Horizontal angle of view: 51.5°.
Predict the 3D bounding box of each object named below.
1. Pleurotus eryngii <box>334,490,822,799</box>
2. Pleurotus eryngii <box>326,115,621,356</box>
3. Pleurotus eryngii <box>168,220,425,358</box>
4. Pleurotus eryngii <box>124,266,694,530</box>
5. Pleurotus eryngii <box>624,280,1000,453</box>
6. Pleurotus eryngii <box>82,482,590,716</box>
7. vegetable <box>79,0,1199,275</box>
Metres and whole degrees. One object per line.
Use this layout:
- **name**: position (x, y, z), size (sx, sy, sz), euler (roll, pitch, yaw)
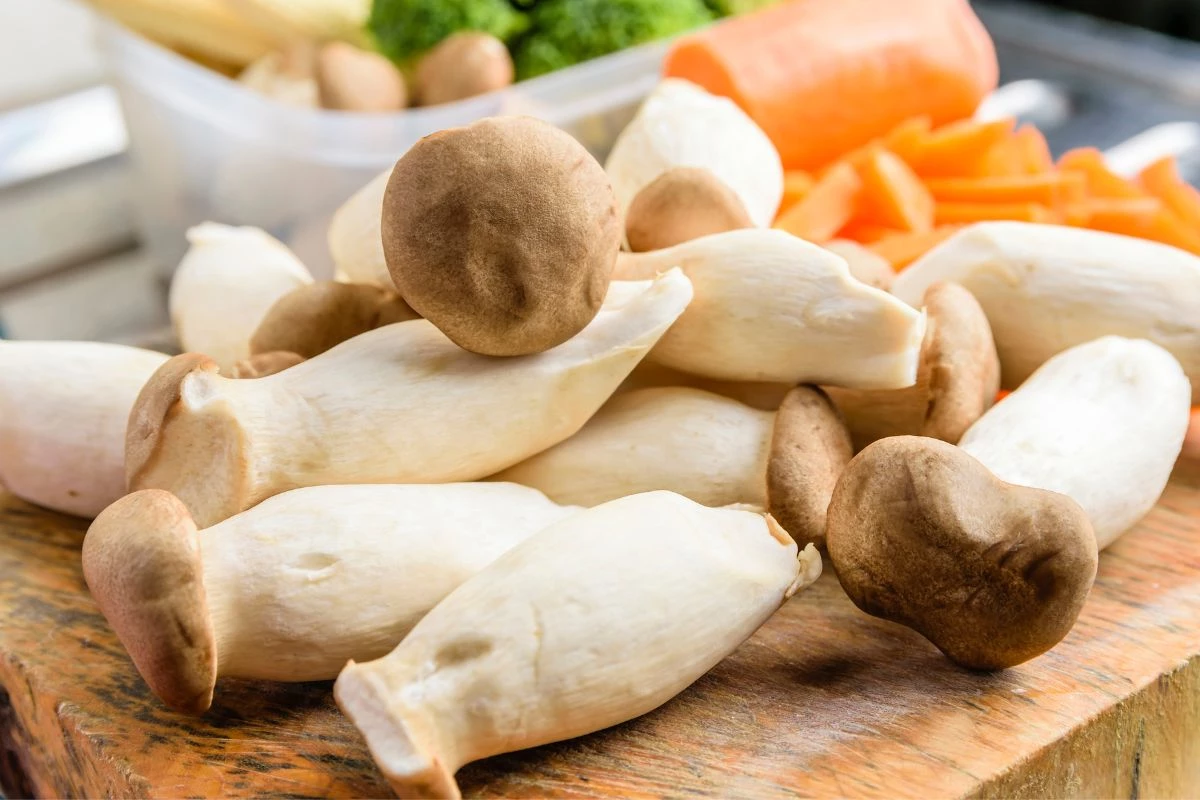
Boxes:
- **Pleurotus eryngii**: position (-0.018, 0.165, 0.879), size (0.328, 0.107, 0.135), euler (-25, 66, -9)
- **Pleurotus eryngii**: position (-0.066, -0.109, 0.844), size (0.158, 0.146, 0.092), euler (-2, 42, -10)
- **Pleurotus eryngii**: position (-0.257, -0.080, 1.101), size (0.170, 0.245, 0.097), euler (-7, 79, 26)
- **Pleurotus eryngii**: position (-0.134, 0.004, 0.910), size (0.455, 0.113, 0.118), euler (-11, 34, -14)
- **Pleurotus eryngii**: position (0.156, -0.023, 0.941), size (0.260, 0.124, 0.086), euler (0, 55, 4)
- **Pleurotus eryngii**: position (-0.217, 0.122, 0.910), size (0.154, 0.131, 0.407), euler (-16, -8, 34)
- **vegetable**: position (0.048, -0.368, 1.347), size (0.899, 0.234, 0.528), euler (-14, 30, -27)
